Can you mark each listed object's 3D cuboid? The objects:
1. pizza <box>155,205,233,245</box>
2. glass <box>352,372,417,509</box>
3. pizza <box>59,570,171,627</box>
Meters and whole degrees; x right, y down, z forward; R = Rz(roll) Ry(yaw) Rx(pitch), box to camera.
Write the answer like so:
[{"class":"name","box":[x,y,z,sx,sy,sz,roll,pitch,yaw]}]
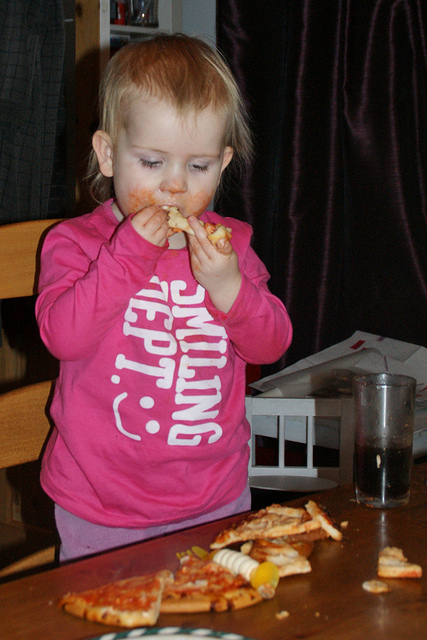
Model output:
[{"class":"pizza","box":[-0.028,-0.121,0.704,0.053,0.026,0.090,-30,-26,20]},{"class":"glass","box":[0.185,0.134,0.641,0.075,0.128,0.075,0,-2,26]},{"class":"pizza","box":[-0.067,0.183,0.389,0.066,0.013,0.055,2,5,6]}]
